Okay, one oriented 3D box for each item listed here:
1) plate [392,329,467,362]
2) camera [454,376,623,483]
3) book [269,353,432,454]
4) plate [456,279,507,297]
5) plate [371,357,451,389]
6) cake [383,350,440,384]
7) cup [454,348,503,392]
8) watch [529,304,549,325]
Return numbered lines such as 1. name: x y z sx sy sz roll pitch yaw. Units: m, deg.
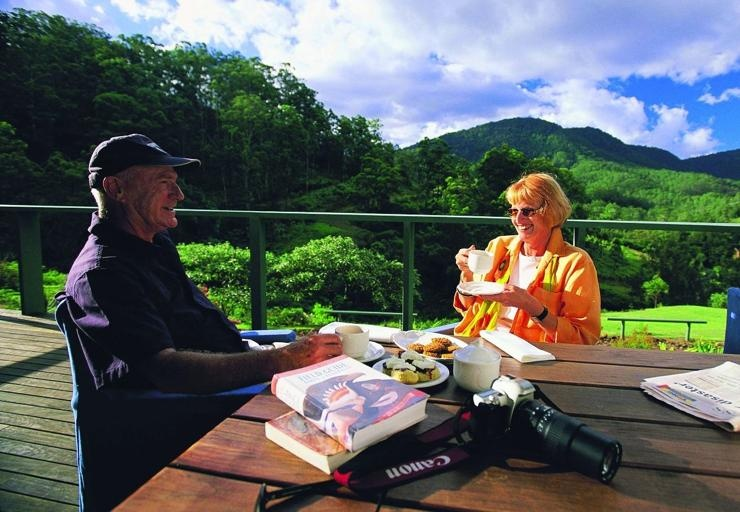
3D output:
1. plate: 0.225 0.319 2.021 0.185 0.093 0.241 -3 6 -33
2. camera: 0.483 0.484 1.465 0.438 0.242 0.278 3 4 45
3. book: -0.070 0.407 1.550 0.276 0.054 0.282 21 19 41
4. plate: 0.452 0.133 2.177 0.181 0.037 0.204 14 15 38
5. plate: 0.157 0.364 1.825 0.225 0.090 0.234 -3 5 -32
6. cake: 0.133 0.351 1.789 0.164 0.085 0.181 -3 8 -33
7. cup: 0.354 0.353 1.762 0.161 0.148 0.153 2 11 0
8. watch: 0.738 0.255 2.320 0.057 0.084 0.081 30 0 -1
